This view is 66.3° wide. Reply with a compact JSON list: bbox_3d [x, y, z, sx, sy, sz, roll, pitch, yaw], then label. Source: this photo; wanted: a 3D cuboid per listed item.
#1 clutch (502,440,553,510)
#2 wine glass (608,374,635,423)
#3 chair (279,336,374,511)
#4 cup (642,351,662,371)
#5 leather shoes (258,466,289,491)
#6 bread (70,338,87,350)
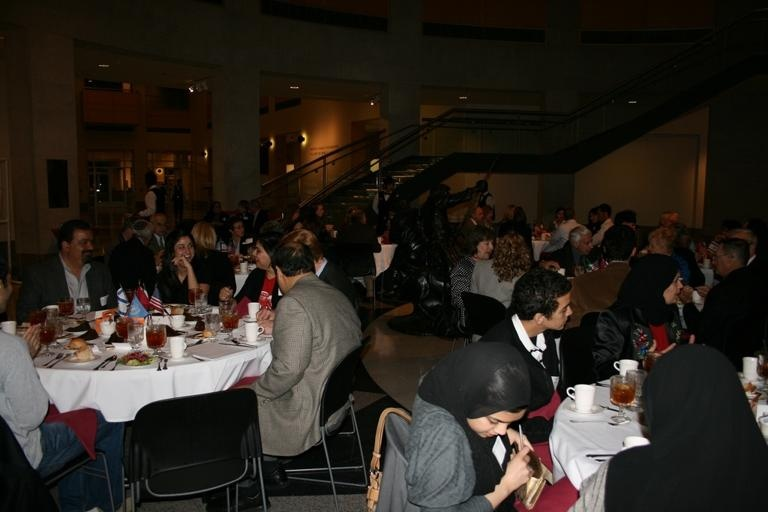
[{"bbox_3d":[0.731,1.072,2.818,0.082,0.284,0.203,11,18,-34],"label":"clutch"},{"bbox_3d":[1.375,0.834,3.404,0.139,0.242,0.144,2,1,-19],"label":"wine glass"},{"bbox_3d":[-0.428,1.133,4.467,0.580,1.160,1.143,-2,11,-3],"label":"chair"},{"bbox_3d":[1.643,0.650,3.629,0.069,0.102,0.160,6,13,31],"label":"cup"},{"bbox_3d":[-0.819,1.652,4.379,0.176,0.138,0.134,-3,8,-1],"label":"leather shoes"},{"bbox_3d":[-2.101,0.606,4.029,0.096,0.054,0.098,3,16,-12],"label":"bread"}]
